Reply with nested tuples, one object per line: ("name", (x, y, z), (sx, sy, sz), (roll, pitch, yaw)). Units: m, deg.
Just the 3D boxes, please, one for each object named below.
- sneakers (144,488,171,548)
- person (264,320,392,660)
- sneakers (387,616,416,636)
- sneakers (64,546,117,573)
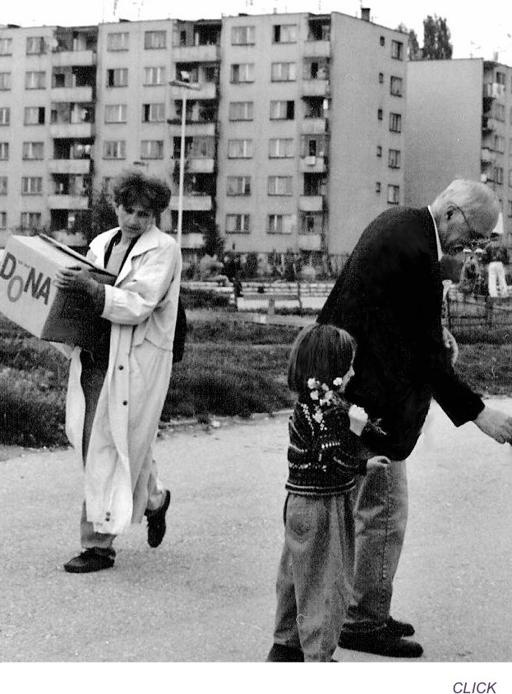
("sneakers", (-0.505, 0.857, 5.288), (0.088, 0.326, 0.119), (2, 8, 24))
("person", (0.175, 0.473, 3.257), (0.300, 1.086, 0.251), (2, 2, 12))
("sneakers", (0.542, 1.057, 4.003), (0.133, 0.058, 0.065), (7, -36, 21))
("sneakers", (-0.756, 0.967, 4.839), (0.084, 0.121, 0.254), (0, 0, 44))
